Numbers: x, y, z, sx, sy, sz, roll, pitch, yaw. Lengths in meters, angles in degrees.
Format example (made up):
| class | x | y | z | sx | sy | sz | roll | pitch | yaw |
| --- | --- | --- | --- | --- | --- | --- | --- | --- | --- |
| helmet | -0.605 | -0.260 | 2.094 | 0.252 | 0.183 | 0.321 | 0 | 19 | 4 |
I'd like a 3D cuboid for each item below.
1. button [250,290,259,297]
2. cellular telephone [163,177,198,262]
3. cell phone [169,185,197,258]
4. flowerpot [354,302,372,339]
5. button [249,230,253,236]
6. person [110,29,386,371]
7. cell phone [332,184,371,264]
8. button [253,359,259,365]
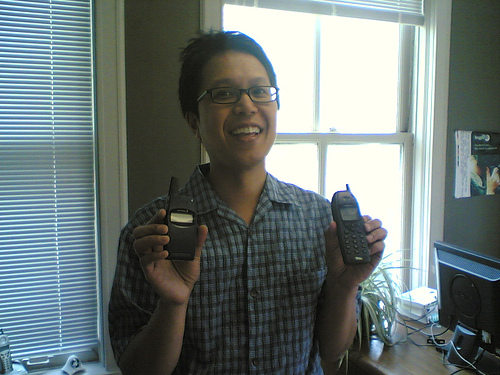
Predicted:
| class | x | y | z | sx | sy | sz | roll | pitch | yaw |
| --- | --- | --- | --- | --- | --- | --- | --- | --- | --- |
| button | 0.014 | 0.372 | 1.579 | 0.028 | 0.024 | 0.007 | -1 | 6 | -5 |
| cellular telephone | -0.228 | 0.101 | 1.471 | 0.113 | 0.264 | 0.087 | -2 | 6 | -8 |
| cell phone | -0.219 | 0.127 | 1.473 | 0.085 | 0.198 | 0.081 | -1 | 6 | -5 |
| flowerpot | 0.607 | 0.709 | 2.413 | 0.130 | 0.177 | 0.061 | -2 | 7 | 2 |
| button | 0.004 | 0.164 | 1.604 | 0.015 | 0.016 | 0.007 | -1 | 6 | -5 |
| person | -0.032 | 0.077 | 1.598 | 0.912 | 1.263 | 0.415 | -3 | 6 | -19 |
| cell phone | 0.356 | 0.128 | 1.592 | 0.121 | 0.270 | 0.156 | -2 | 6 | -11 |
| button | 0.021 | 0.609 | 1.567 | 0.017 | 0.016 | 0.004 | -3 | -19 | -16 |
